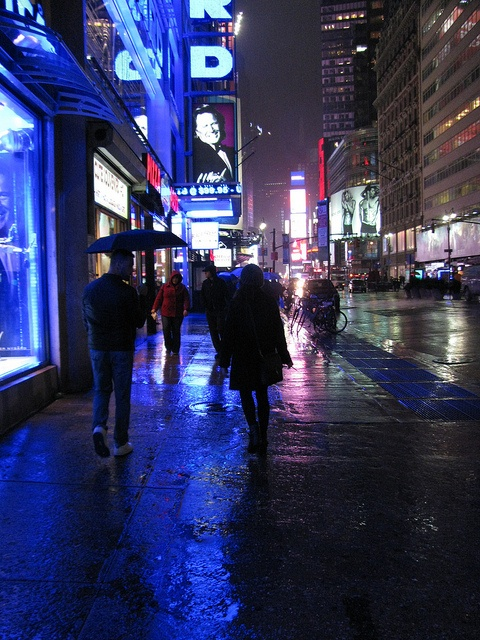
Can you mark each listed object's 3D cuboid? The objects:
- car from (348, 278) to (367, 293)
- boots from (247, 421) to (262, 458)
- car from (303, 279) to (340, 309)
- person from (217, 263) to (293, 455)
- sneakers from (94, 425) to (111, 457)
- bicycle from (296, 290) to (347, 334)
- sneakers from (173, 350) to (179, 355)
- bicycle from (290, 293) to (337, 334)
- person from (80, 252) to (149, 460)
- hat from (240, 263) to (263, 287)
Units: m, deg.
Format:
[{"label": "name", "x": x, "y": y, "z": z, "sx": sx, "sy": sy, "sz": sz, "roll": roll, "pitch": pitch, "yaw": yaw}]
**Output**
[{"label": "car", "x": 15.175, "y": -4.444, "z": 72.123, "sx": 1.416, "sy": 1.611, "sz": 2.615, "roll": 2, "pitch": 15, "yaw": 8}, {"label": "boots", "x": 0.136, "y": 1.108, "z": 5.161, "sx": 0.101, "sy": 0.266, "sz": 0.256, "roll": 1, "pitch": -26, "yaw": 0}, {"label": "car", "x": 3.637, "y": -1.225, "z": 25.237, "sx": 1.039, "sy": 1.414, "sz": 2.778, "roll": 0, "pitch": 7, "yaw": 2}, {"label": "person", "x": 0.140, "y": 0.366, "z": 5.146, "sx": 0.625, "sy": 1.762, "sz": 0.306, "roll": 0, "pitch": 1, "yaw": -4}, {"label": "sneakers", "x": -1.159, "y": 1.038, "z": 4.674, "sx": 0.104, "sy": 0.310, "sz": 0.118, "roll": -7, "pitch": 2, "yaw": 7}, {"label": "bicycle", "x": 2.773, "y": -0.156, "z": 19.283, "sx": 1.016, "sy": 1.510, "sz": 2.172, "roll": -2, "pitch": 10, "yaw": -33}, {"label": "sneakers", "x": -1.458, "y": 0.753, "z": 12.750, "sx": 0.107, "sy": 0.138, "sz": 0.068, "roll": -1, "pitch": -12, "yaw": -3}, {"label": "bicycle", "x": 2.883, "y": -0.177, "z": 19.300, "sx": 0.949, "sy": 1.437, "sz": 2.133, "roll": 2, "pitch": 8, "yaw": -19}, {"label": "person", "x": -1.101, "y": 0.310, "z": 4.902, "sx": 0.538, "sy": 1.873, "sz": 0.592, "roll": 0, "pitch": 1, "yaw": -18}, {"label": "hat", "x": 0.111, "y": -0.411, "z": 5.117, "sx": 0.179, "sy": 0.232, "sz": 0.178, "roll": 1, "pitch": 4, "yaw": 12}]
